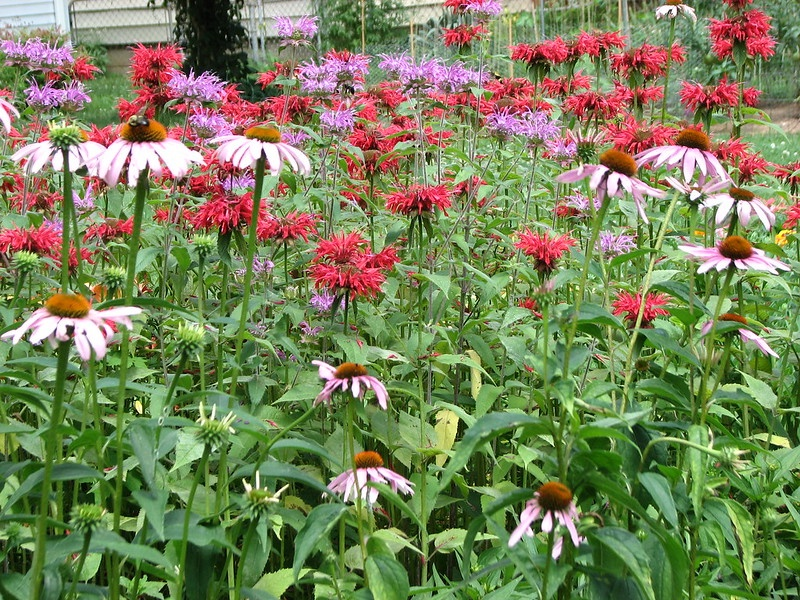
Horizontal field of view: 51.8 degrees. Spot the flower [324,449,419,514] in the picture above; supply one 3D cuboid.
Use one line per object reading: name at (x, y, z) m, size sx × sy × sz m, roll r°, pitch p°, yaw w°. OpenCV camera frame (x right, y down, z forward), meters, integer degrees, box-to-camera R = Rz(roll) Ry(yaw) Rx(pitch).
flower at (-0.097, 0.607, 2.790) m, size 0.208 × 0.160 × 0.228 m, roll 4°, pitch -4°, yaw -22°
